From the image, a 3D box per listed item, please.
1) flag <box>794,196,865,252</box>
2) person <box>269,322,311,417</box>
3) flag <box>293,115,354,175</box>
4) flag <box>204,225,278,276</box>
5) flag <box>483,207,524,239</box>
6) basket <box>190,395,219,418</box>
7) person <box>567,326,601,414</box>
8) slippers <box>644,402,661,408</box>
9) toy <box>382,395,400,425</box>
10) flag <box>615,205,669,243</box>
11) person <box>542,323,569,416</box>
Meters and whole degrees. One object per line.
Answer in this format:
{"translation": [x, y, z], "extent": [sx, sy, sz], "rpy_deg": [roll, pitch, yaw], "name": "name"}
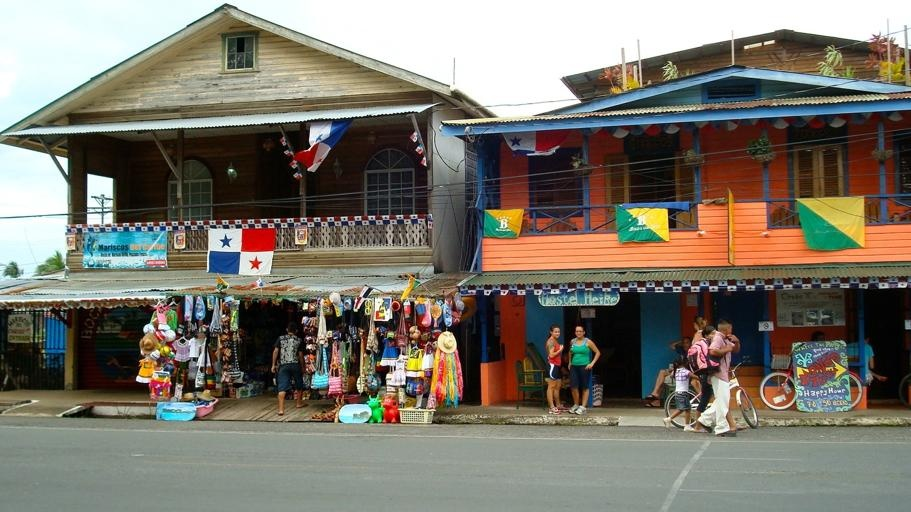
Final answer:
{"translation": [11.288, -0.989, 36.447], "extent": [1.995, 1.542, 0.191], "rpy_deg": [1, 6, 32], "name": "flag"}
{"translation": [-4.913, 3.390, 36.965], "extent": [1.360, 2.604, 0.759], "rpy_deg": [1, 1, -41], "name": "person"}
{"translation": [-4.336, -3.570, 39.124], "extent": [1.706, 1.614, 0.499], "rpy_deg": [-3, 10, -10], "name": "flag"}
{"translation": [-7.053, -0.133, 39.993], "extent": [2.572, 1.640, 0.126], "rpy_deg": [1, 5, -41], "name": "flag"}
{"translation": [1.478, -0.980, 38.002], "extent": [1.085, 0.710, 0.089], "rpy_deg": [0, -9, 8], "name": "flag"}
{"translation": [-7.631, 4.586, 36.855], "extent": [0.575, 0.523, 0.708], "rpy_deg": [-1, 9, 2], "name": "basket"}
{"translation": [3.746, 3.410, 36.204], "extent": [1.147, 2.595, 1.045], "rpy_deg": [-3, -7, 23], "name": "person"}
{"translation": [5.967, 4.549, 36.872], "extent": [0.316, 0.116, 0.172], "rpy_deg": [3, -5, 13], "name": "slippers"}
{"translation": [-1.927, 4.549, 36.018], "extent": [0.490, 0.745, 0.567], "rpy_deg": [-2, 9, -6], "name": "toy"}
{"translation": [5.705, -0.989, 37.358], "extent": [1.769, 1.142, 0.187], "rpy_deg": [-2, 3, -18], "name": "flag"}
{"translation": [2.929, 3.432, 36.317], "extent": [0.704, 2.236, 0.844], "rpy_deg": [2, 0, -3], "name": "person"}
